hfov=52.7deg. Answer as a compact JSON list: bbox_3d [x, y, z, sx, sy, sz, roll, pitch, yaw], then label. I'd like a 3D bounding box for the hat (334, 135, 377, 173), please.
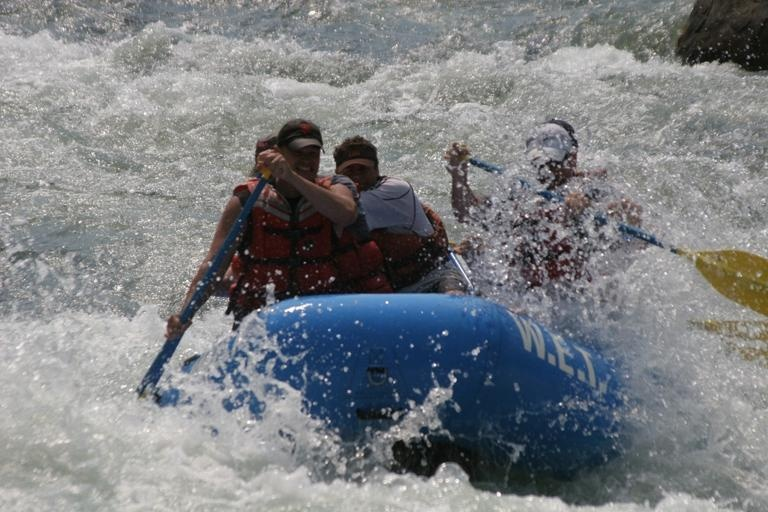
[{"bbox_3d":[-0.260,-0.924,6.826,0.269,0.355,0.184,-6,67,1],"label":"hat"}]

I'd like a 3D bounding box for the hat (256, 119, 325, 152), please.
[{"bbox_3d":[-0.754,-1.016,6.519,0.606,0.303,0.377,7,13,-10],"label":"hat"}]
